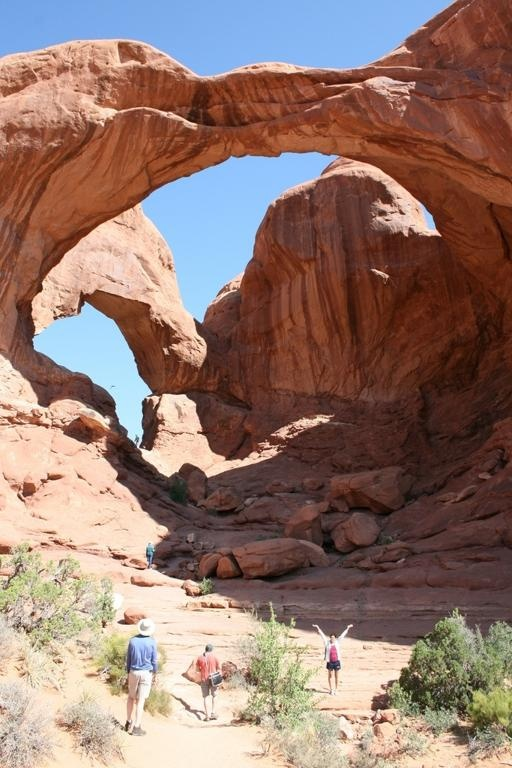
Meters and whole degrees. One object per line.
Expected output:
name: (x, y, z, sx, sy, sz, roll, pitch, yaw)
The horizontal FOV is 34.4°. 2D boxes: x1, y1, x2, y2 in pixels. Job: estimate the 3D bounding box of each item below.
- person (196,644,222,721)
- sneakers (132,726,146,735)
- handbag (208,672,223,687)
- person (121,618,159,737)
person: (-0.487, 2.973, 8.234, 0.267, 0.704, 0.539, 6, -30, 0)
sneakers: (-1.058, 3.097, 7.406, 0.056, 0.064, 0.157, -8, -16, 38)
handbag: (-0.401, 2.899, 8.117, 0.105, 0.140, 0.258, 3, -29, 5)
person: (-1.082, 2.707, 7.621, 0.284, 0.987, 0.528, 10, -30, -5)
